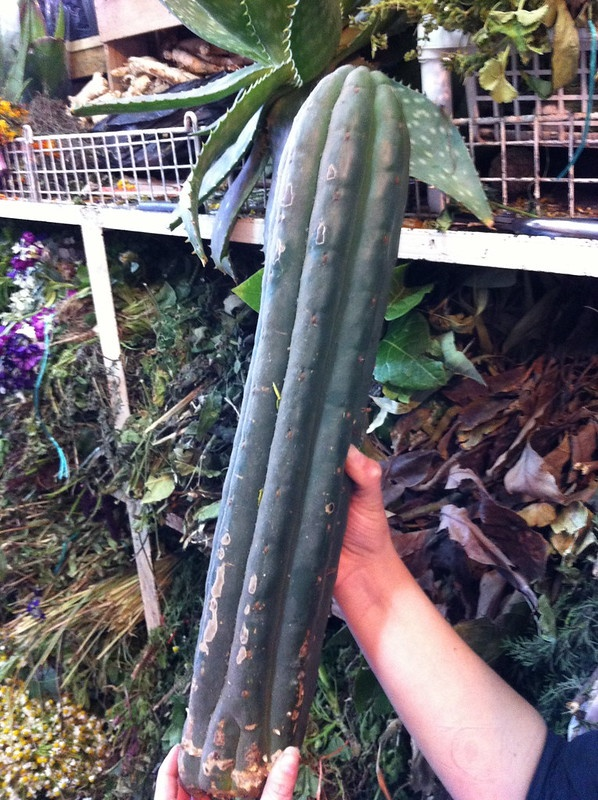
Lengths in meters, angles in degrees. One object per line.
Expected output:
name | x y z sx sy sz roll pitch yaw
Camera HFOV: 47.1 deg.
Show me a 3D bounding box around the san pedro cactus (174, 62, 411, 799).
san pedro cactus | -0.003 0.029 0.641 0.157 0.618 0.366 5 27 17
